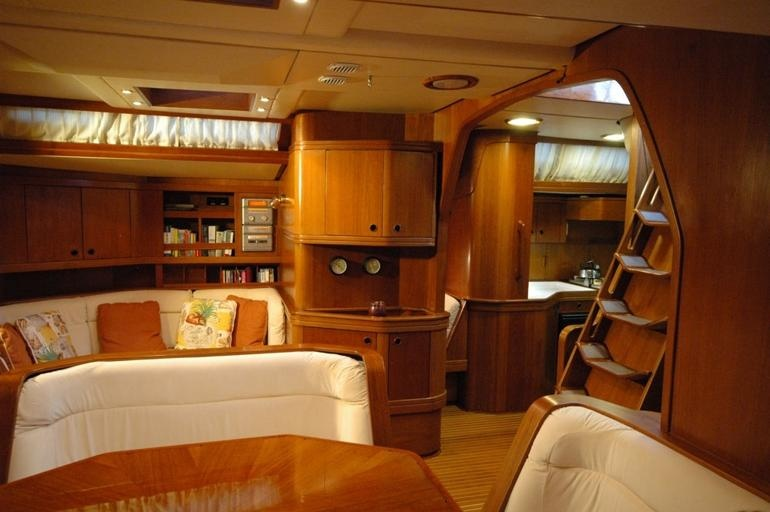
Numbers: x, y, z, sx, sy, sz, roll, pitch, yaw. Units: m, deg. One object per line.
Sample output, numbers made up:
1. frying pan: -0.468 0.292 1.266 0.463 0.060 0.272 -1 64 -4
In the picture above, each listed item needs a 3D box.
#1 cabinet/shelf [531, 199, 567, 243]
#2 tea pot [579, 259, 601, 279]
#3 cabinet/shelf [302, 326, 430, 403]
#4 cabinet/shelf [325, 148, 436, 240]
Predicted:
1. cabinet/shelf: 1.755 -0.400 6.098 0.543 0.484 0.284 0 1 -10
2. tea pot: 2.278 0.127 6.244 0.243 0.250 0.171 -4 11 0
3. cabinet/shelf: -0.160 0.966 4.352 0.972 0.850 0.535 0 1 -12
4. cabinet/shelf: -0.074 -0.469 4.155 0.717 0.564 0.284 0 1 -4
